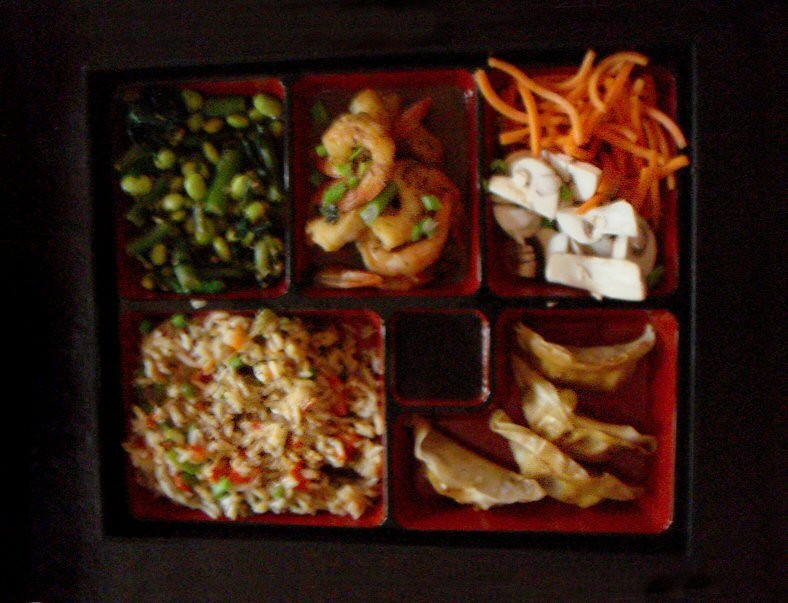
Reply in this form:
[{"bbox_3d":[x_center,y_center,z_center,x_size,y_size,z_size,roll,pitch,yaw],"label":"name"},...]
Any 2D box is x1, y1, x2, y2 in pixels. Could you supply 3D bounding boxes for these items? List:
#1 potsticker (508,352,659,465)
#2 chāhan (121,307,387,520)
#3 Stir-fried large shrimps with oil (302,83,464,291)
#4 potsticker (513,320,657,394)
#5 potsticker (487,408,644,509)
[{"bbox_3d":[0.770,0.448,3.651,0.687,0.385,0.556,-5,15,-12],"label":"potsticker"},{"bbox_3d":[-0.582,0.559,3.582,1.190,0.955,0.710,-6,20,-2],"label":"chāhan"},{"bbox_3d":[-0.069,-0.486,3.532,0.836,0.810,0.295,0,5,-3],"label":"Stir-fried large shrimps with oil"},{"bbox_3d":[0.852,0.273,3.549,0.663,0.295,0.191,5,-28,3],"label":"potsticker"},{"bbox_3d":[0.724,0.750,3.491,0.721,0.230,0.227,25,43,12],"label":"potsticker"}]
